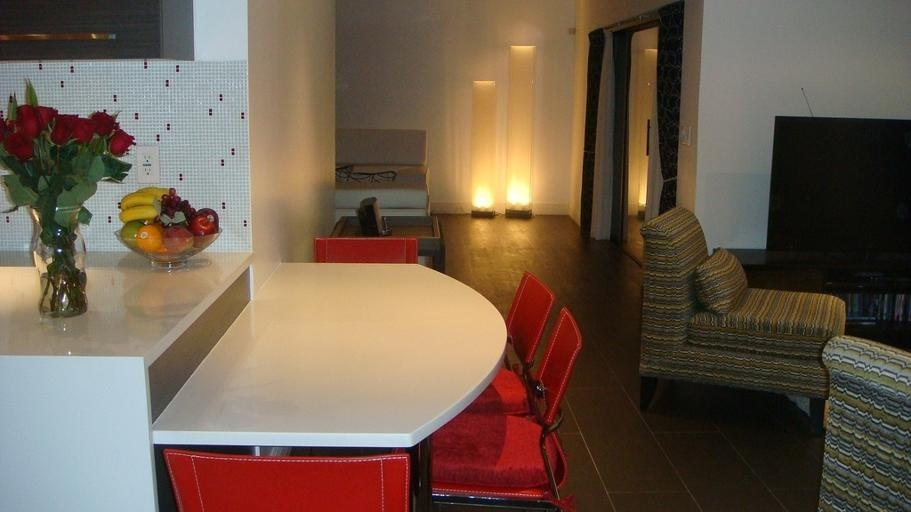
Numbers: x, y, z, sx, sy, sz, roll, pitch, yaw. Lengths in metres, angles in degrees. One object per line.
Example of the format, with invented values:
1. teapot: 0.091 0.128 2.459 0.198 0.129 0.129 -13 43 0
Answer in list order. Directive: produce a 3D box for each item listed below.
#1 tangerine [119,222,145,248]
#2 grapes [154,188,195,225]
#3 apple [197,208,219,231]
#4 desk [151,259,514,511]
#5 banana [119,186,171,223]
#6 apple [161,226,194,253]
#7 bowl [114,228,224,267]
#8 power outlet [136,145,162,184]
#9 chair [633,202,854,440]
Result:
1. tangerine: -1.563 -0.105 3.074 0.115 0.134 0.113 1 19 19
2. grapes: -1.353 -0.224 3.032 0.159 0.175 0.082 -15 -17 -40
3. apple: -1.223 -0.176 3.079 0.074 0.073 0.089 -29 34 -26
4. desk: -0.498 0.706 2.796 0.929 0.318 1.362 3 27 -3
5. banana: -1.542 -0.253 3.082 0.268 0.157 0.064 -13 -21 -11
6. apple: -1.323 -0.075 3.011 0.127 0.116 0.120 10 38 -1
7. bowl: -1.364 -0.023 3.038 0.260 0.095 0.259 1 14 0
8. power outlet: -1.604 -0.477 3.260 0.119 0.197 0.030 0 12 5
9. chair: 2.101 0.360 4.523 1.313 1.191 1.019 4 15 36
